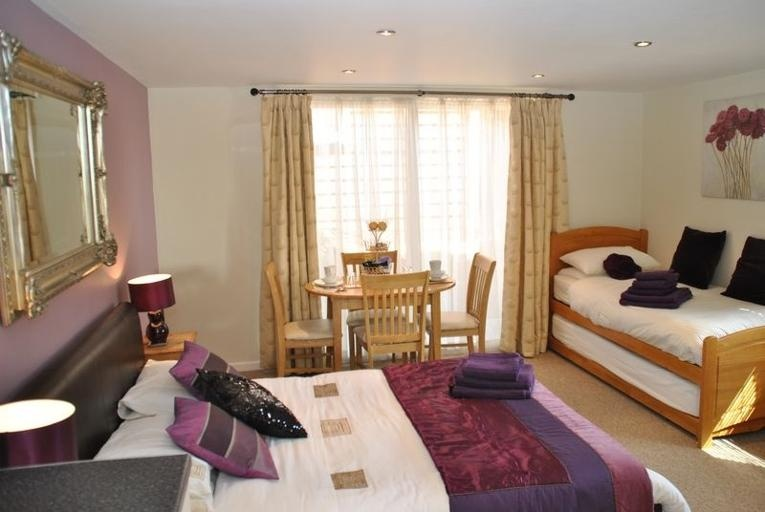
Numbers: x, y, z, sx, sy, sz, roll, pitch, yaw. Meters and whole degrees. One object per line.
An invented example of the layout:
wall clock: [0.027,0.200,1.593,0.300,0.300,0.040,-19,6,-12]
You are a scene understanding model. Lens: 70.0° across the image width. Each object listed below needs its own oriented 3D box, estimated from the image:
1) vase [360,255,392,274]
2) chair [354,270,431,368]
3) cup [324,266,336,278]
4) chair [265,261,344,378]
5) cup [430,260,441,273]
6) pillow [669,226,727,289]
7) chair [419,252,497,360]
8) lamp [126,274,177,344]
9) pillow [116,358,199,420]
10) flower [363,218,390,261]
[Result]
vase: [-0.075,0.078,5.162,0.210,0.107,0.185,1,1,30]
chair: [0.082,0.592,5.340,0.745,1.221,0.845,2,20,8]
cup: [-0.510,0.146,5.261,0.092,0.097,0.100,-1,1,0]
chair: [-0.783,0.699,5.401,0.723,1.150,0.643,-1,7,-13]
cup: [0.513,0.101,5.359,0.120,0.113,0.060,-9,12,-34]
pillow: [3.103,0.003,5.410,0.257,0.599,0.587,11,10,-31]
chair: [0.748,0.552,5.462,0.634,1.018,0.599,0,8,-1]
lamp: [-1.862,0.468,4.484,0.318,0.502,0.324,-7,1,36]
pillow: [-1.477,0.871,3.477,0.347,0.133,0.540,-2,10,-17]
flower: [-0.060,-0.180,5.571,0.222,0.388,0.567,-2,9,0]
